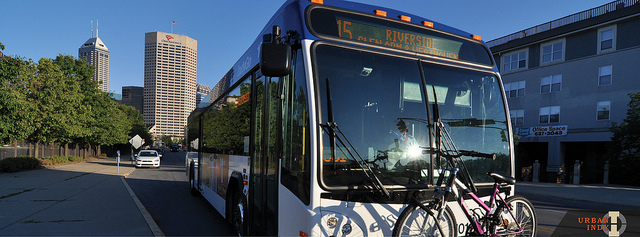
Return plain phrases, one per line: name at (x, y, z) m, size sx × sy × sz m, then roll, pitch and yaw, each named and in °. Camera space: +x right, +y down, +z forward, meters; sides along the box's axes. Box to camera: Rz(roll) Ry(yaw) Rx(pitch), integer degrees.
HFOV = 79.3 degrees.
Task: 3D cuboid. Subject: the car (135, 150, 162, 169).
car at (-29.558, 6.846, 65.782) m, size 3.443 × 2.905 × 1.796 m, roll 1°, pitch -8°, yaw -6°
